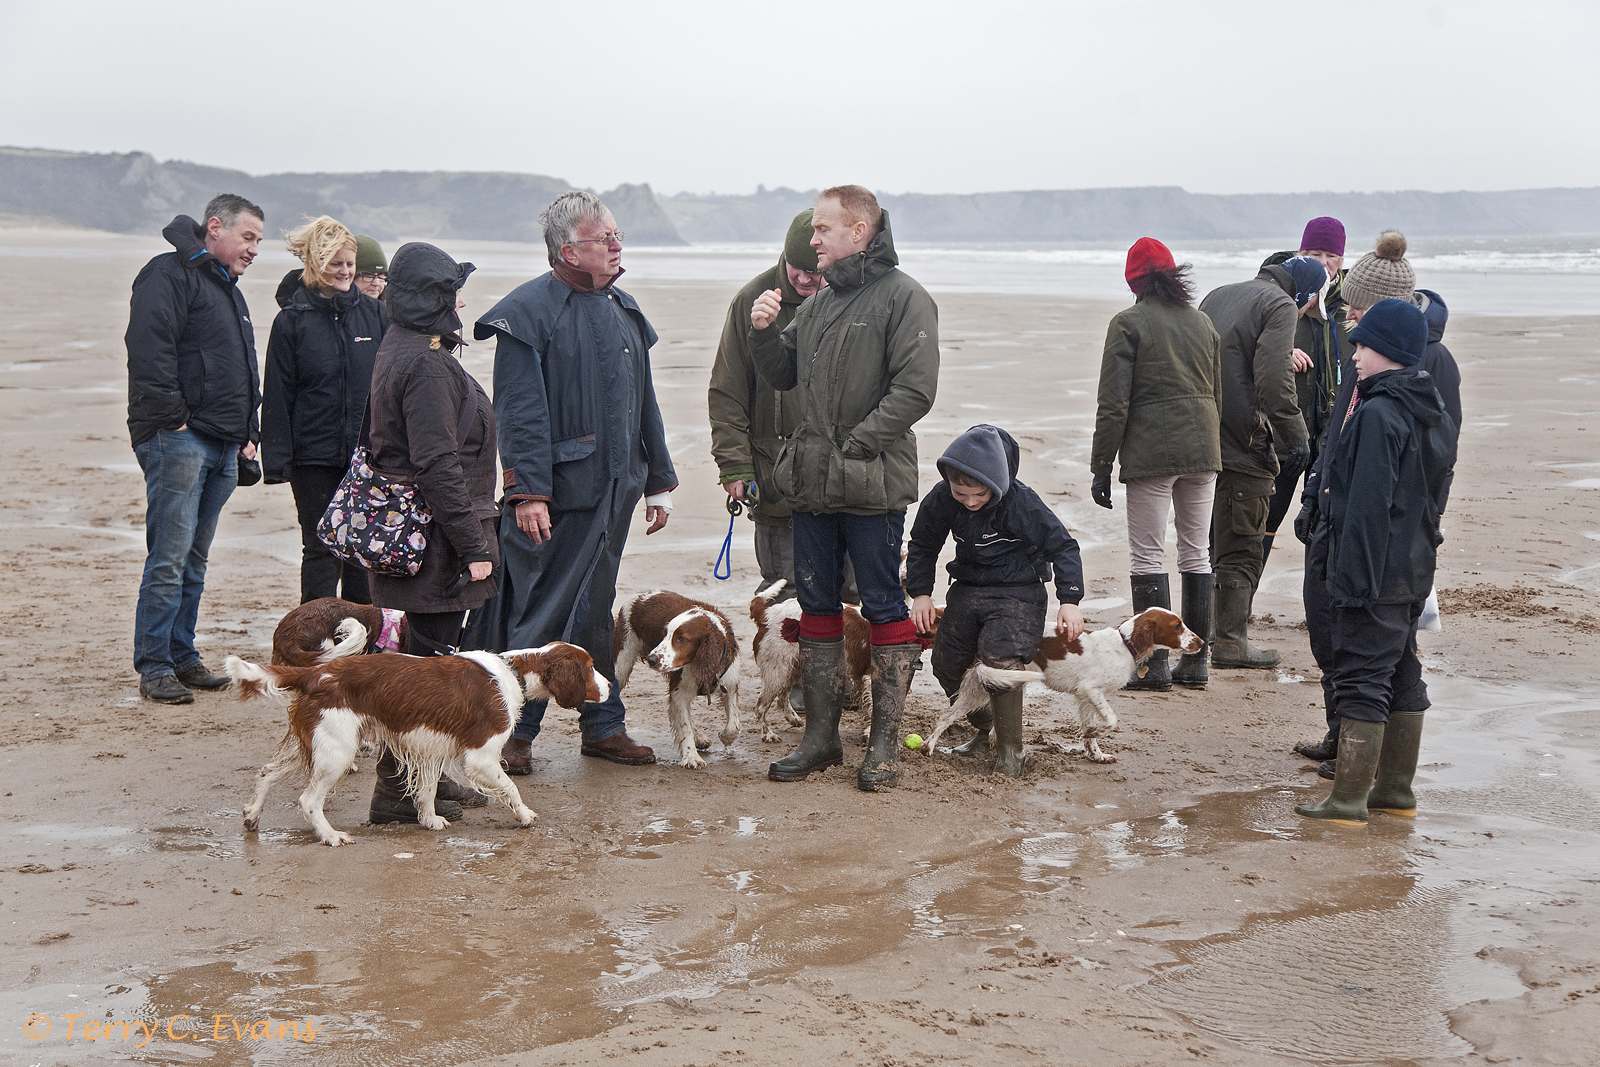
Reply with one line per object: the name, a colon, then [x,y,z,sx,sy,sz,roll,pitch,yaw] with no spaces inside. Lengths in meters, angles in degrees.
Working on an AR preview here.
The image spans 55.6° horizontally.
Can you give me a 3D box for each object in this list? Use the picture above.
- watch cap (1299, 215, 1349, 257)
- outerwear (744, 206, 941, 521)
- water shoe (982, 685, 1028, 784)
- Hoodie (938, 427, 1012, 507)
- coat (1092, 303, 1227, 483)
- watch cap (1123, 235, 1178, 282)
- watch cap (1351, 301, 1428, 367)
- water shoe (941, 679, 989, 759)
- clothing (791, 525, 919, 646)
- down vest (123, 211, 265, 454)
watch cap: [3.825,-2.205,11.170,0.305,0.302,0.400,6,-3,29]
outerwear: [0.268,-0.971,8.606,1.011,1.688,0.567,0,8,11]
water shoe: [1.209,1.131,8.851,0.189,0.538,0.252,-1,7,6]
Hoodie: [1.020,-0.413,8.743,0.420,0.416,0.402,-1,7,7]
coat: [2.361,-0.938,10.059,0.808,1.195,0.403,0,8,10]
watch cap: [2.340,-1.838,10.171,0.278,0.236,0.375,-6,6,0]
watch cap: [3.165,-1.072,8.250,0.399,0.333,0.308,7,-4,35]
water shoe: [0.997,1.119,9.136,0.355,0.508,0.148,-31,49,-28]
clothing: [0.316,0.303,8.745,0.757,1.129,0.359,0,6,16]
down vest: [-3.808,-1.267,9.507,0.786,1.447,0.402,-6,9,-33]
